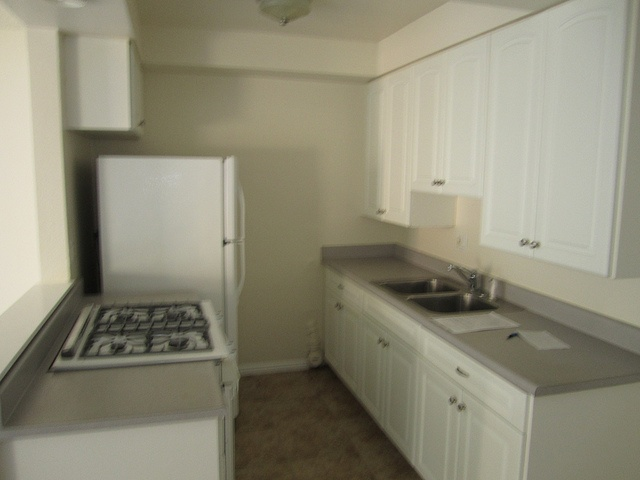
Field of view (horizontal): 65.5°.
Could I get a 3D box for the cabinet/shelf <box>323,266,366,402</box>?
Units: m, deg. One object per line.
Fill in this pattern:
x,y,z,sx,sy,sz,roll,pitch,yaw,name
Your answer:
0.190,0.712,3.768,0.318,0.807,0.849,1,9,-13,cabinet/shelf

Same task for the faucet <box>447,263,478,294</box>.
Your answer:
0.930,0.237,3.131,0.080,0.152,0.344,-10,10,-10,faucet

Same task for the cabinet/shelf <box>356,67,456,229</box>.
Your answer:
0.605,-0.654,3.436,0.377,1.095,1.103,1,7,-7,cabinet/shelf

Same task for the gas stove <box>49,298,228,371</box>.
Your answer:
-0.820,0.433,2.385,0.731,0.076,0.713,-2,11,-11,gas stove
